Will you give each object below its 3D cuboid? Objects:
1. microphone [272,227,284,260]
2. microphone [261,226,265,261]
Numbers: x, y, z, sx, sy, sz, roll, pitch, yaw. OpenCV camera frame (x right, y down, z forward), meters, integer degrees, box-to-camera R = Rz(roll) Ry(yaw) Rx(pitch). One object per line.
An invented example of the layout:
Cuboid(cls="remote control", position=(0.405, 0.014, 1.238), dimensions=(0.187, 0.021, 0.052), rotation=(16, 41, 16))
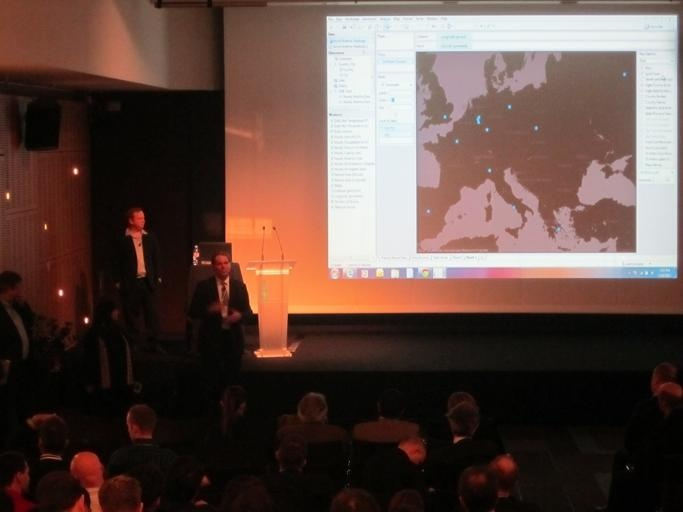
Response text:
Cuboid(cls="microphone", position=(-0.656, -0.141, 6.827), dimensions=(0.125, 0.347, 0.033), rotation=(4, 11, 27))
Cuboid(cls="microphone", position=(-0.826, -0.136, 6.819), dimensions=(0.051, 0.349, 0.069), rotation=(1, 10, 8))
